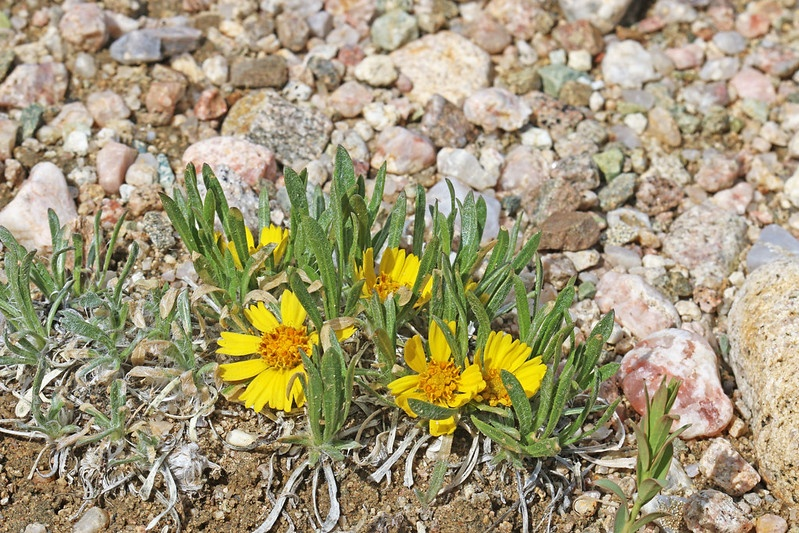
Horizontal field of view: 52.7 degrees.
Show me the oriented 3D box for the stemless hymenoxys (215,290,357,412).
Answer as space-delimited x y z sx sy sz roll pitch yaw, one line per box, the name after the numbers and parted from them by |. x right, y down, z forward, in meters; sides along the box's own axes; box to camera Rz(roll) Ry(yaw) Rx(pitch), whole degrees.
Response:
-0.533 0.328 3.372 0.450 0.134 0.465 5 15 42 | stemless hymenoxys

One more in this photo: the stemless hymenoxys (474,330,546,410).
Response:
0.415 0.435 3.245 0.326 0.137 0.321 53 28 -15 | stemless hymenoxys

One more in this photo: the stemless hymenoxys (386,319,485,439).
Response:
0.143 0.443 3.301 0.382 0.179 0.460 2 39 -18 | stemless hymenoxys

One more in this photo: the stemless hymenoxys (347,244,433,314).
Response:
-0.069 0.062 3.449 0.294 0.154 0.296 -28 38 -15 | stemless hymenoxys

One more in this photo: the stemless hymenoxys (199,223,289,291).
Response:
-0.622 -0.070 3.535 0.239 0.122 0.229 -35 38 -15 | stemless hymenoxys
